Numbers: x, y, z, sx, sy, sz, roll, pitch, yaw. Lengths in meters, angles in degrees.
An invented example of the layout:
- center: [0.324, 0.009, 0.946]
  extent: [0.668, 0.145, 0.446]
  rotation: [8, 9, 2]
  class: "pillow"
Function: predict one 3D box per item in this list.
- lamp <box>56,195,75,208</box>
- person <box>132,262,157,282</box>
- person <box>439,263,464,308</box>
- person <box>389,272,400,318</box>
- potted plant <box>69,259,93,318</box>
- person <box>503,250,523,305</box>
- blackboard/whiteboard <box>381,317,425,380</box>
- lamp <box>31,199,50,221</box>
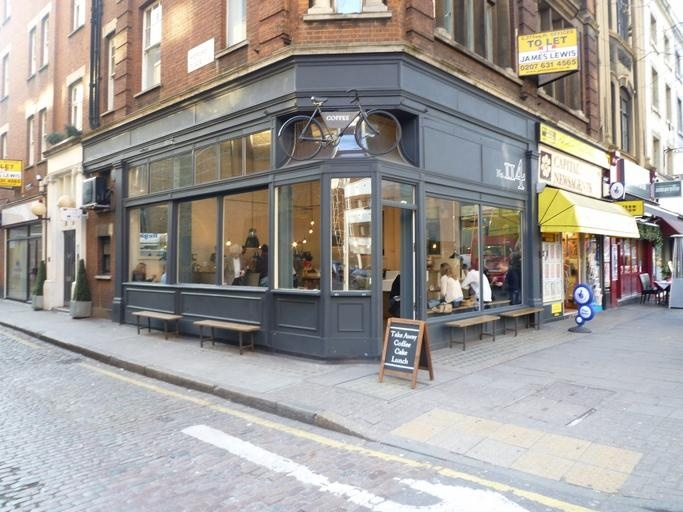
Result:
- center: [-9.137, -1.817, 19.466]
  extent: [0.385, 0.388, 0.585]
  rotation: [5, 12, 29]
  class: "lamp"
- center: [-5.900, 0.512, 17.259]
  extent: [0.722, 0.815, 0.542]
  rotation: [-7, -8, 40]
  class: "person"
- center: [2.730, 0.718, 14.509]
  extent: [0.251, 1.070, 0.862]
  rotation: [9, 14, 43]
  class: "person"
- center: [1.253, 0.968, 13.756]
  extent: [0.218, 0.977, 0.303]
  rotation: [-2, 10, -8]
  class: "person"
- center: [-8.452, 1.055, 18.901]
  extent: [0.729, 1.849, 0.636]
  rotation: [-10, 14, -43]
  class: "potted plant"
- center: [4.907, 0.635, 16.473]
  extent: [0.253, 1.418, 1.034]
  rotation: [7, 13, 38]
  class: "person"
- center: [1.138, 1.823, 11.142]
  extent: [0.812, 1.217, 0.519]
  rotation: [4, 11, 27]
  class: "blackboard/whiteboard"
- center: [-11.352, -1.688, 21.964]
  extent: [0.510, 0.823, 1.325]
  rotation: [-6, 12, -27]
  class: "lamp"
